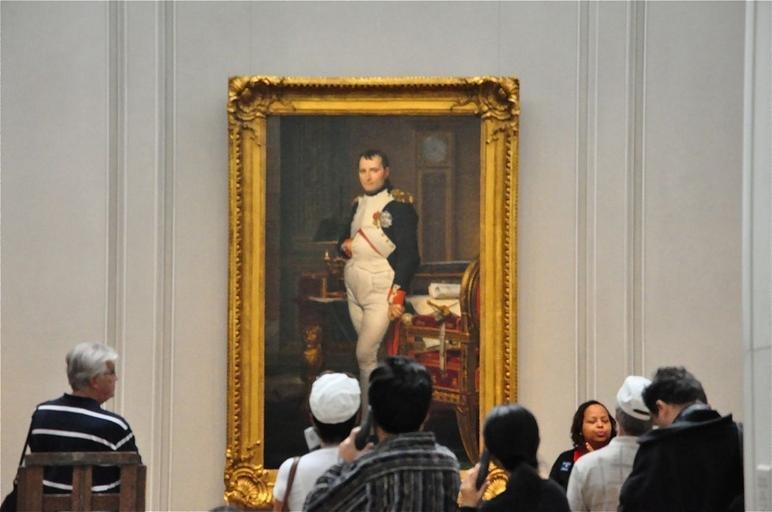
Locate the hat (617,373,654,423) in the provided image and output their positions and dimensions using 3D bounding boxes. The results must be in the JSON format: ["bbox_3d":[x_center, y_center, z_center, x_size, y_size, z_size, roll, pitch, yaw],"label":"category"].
[{"bbox_3d":[2.107,1.202,19.403,0.295,0.191,0.370,-4,21,5],"label":"hat"}]
